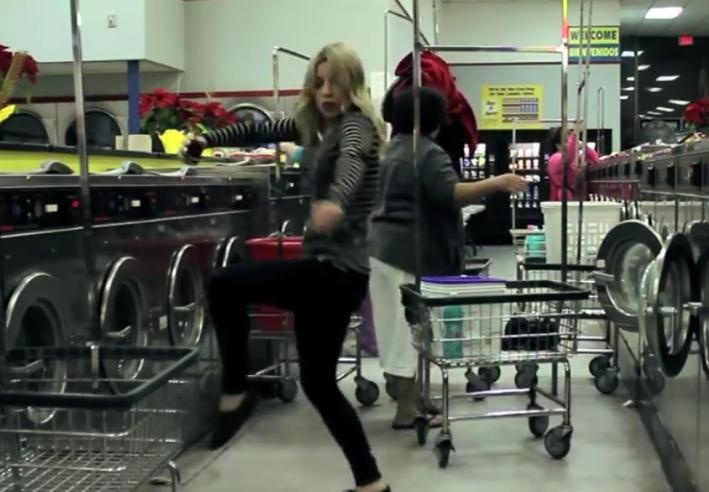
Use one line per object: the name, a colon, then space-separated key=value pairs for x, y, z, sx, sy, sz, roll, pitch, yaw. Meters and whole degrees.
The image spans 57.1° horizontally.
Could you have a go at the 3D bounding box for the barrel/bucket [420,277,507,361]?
barrel/bucket: x=0.519 y=0.356 z=3.156 sx=0.308 sy=0.351 sz=0.397 roll=0 pitch=-4 yaw=-3

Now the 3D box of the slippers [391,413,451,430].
slippers: x=0.337 y=0.971 z=3.558 sx=0.173 sy=0.053 sz=0.178 roll=-3 pitch=-4 yaw=9

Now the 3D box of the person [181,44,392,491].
person: x=-0.204 y=0.105 z=2.525 sx=0.662 sy=1.769 sz=0.366 roll=0 pitch=8 yaw=2

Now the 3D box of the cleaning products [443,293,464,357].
cleaning products: x=0.458 y=0.416 z=3.019 sx=0.099 sy=0.253 sz=0.127 roll=0 pitch=9 yaw=8

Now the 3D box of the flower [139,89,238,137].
flower: x=-1.235 y=-1.056 z=5.377 sx=0.437 sy=0.184 sz=0.402 roll=3 pitch=-15 yaw=-38
